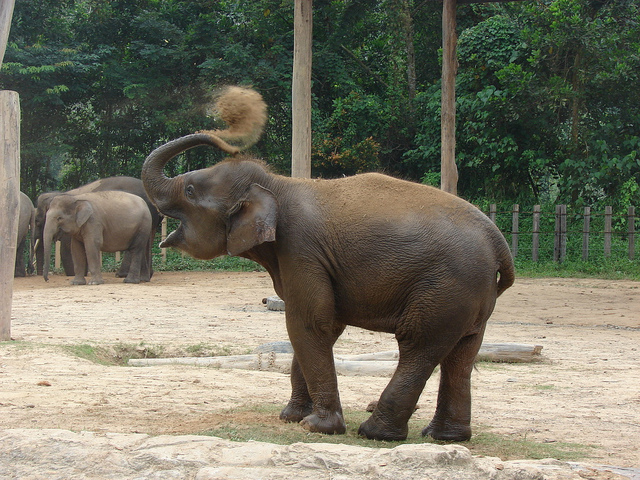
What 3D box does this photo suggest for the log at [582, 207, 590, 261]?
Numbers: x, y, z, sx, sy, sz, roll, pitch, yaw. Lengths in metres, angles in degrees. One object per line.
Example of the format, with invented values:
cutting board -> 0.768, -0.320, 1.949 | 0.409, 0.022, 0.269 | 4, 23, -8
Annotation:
log -> 7.333, -0.168, 31.734 | 0.167, 1.451, 0.890 | 2, 2, 13

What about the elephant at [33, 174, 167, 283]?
elephant -> -6.203, -0.100, 31.033 | 1.526, 2.212, 4.378 | 2, 5, 39

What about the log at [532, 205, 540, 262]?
log -> 6.015, -0.190, 32.104 | 0.157, 1.574, 0.604 | 2, 2, 10

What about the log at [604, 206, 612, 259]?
log -> 7.859, -0.248, 31.506 | 0.181, 1.344, 0.637 | 2, 2, 14

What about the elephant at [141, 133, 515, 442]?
elephant -> -0.070, 0.804, 18.312 | 6.122, 4.367, 2.692 | 5, 8, 14

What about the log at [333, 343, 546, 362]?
log -> 2.110, 1.894, 19.371 | 3.585, 0.357, 0.531 | 1, -16, -4

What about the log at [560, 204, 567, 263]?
log -> 6.684, -0.178, 31.721 | 0.209, 1.541, 0.528 | 2, 2, 11

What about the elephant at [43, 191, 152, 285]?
elephant -> -5.676, -0.092, 28.669 | 2.898, 2.193, 2.463 | 2, 2, 30
